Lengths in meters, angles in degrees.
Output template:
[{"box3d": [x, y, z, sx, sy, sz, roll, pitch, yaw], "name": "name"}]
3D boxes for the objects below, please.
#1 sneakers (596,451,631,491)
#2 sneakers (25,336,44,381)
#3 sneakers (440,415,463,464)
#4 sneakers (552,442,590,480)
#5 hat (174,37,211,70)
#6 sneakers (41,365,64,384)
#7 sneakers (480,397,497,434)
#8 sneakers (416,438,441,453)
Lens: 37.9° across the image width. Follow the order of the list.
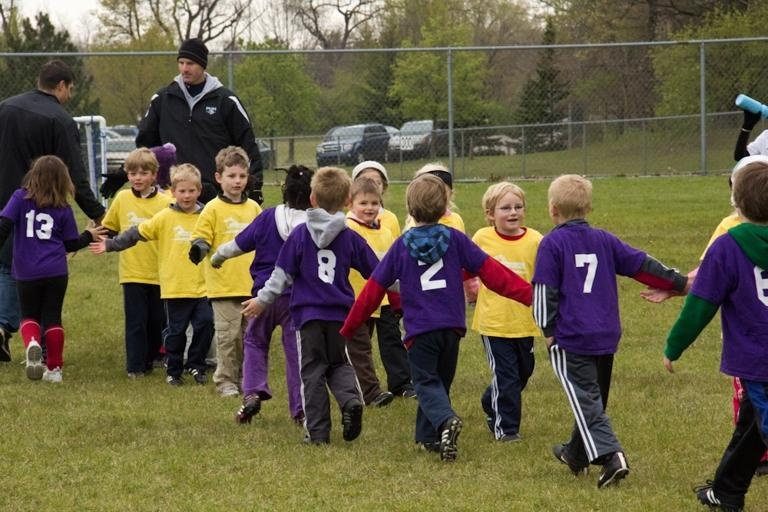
[{"box3d": [2.010, 1.948, 10.054, 0.179, 0.205, 0.457, 6, -39, -21], "name": "sneakers"}, {"box3d": [-3.677, 1.109, 11.831, 0.174, 0.438, 0.203, 0, 4, -19], "name": "sneakers"}, {"box3d": [0.627, 1.717, 10.487, 0.194, 0.431, 0.202, 1, 4, -1], "name": "sneakers"}, {"box3d": [1.698, 1.884, 10.373, 0.444, 0.181, 0.155, 38, 30, 29], "name": "sneakers"}, {"box3d": [-2.134, -2.291, 12.558, 0.329, 0.275, 0.348, 10, 0, -3], "name": "hat"}, {"box3d": [-3.499, 1.295, 11.900, 0.116, 0.131, 0.223, -2, 11, -28], "name": "sneakers"}, {"box3d": [1.000, 1.595, 11.065, 0.123, 0.339, 0.149, -3, -28, -11], "name": "sneakers"}, {"box3d": [0.408, 1.819, 10.659, 0.291, 0.118, 0.080, 3, 4, 33], "name": "sneakers"}]
